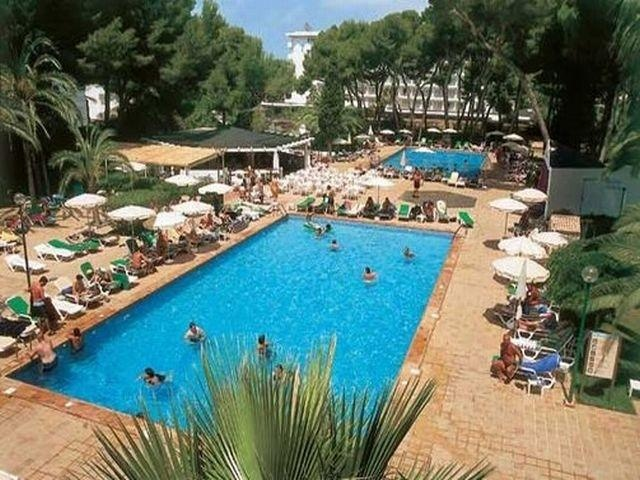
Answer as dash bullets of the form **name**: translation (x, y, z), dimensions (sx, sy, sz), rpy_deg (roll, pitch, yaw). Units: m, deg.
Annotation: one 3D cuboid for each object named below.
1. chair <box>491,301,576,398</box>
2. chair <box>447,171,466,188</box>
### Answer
- **chair**: translation (5.316, 3.066, 12.349), dimensions (2.030, 1.681, 0.903), rpy_deg (9, -24, 13)
- **chair**: translation (8.827, -3.876, 31.545), dimensions (1.146, 0.855, 0.840), rpy_deg (4, 16, 15)
